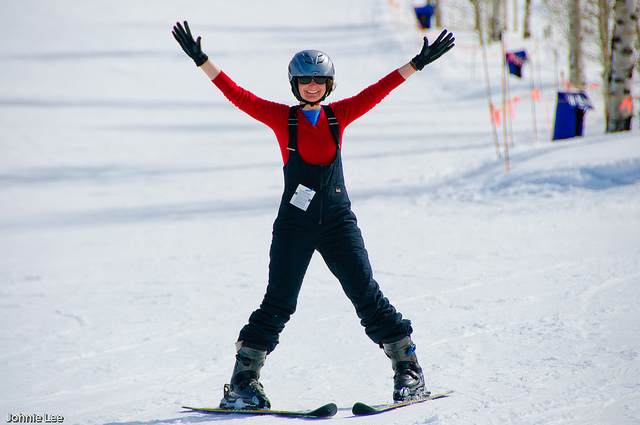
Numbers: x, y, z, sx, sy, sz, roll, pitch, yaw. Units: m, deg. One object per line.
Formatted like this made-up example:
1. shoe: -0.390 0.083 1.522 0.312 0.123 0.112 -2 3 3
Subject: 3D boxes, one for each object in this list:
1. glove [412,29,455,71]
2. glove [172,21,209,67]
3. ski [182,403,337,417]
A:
1. glove: 1.460 -2.159 11.416 0.543 0.476 0.320 -5 4 7
2. glove: -1.712 -2.231 11.279 0.305 0.595 0.164 -32 10 -28
3. ski: -0.728 2.492 10.939 1.618 0.132 0.174 0 18 4
